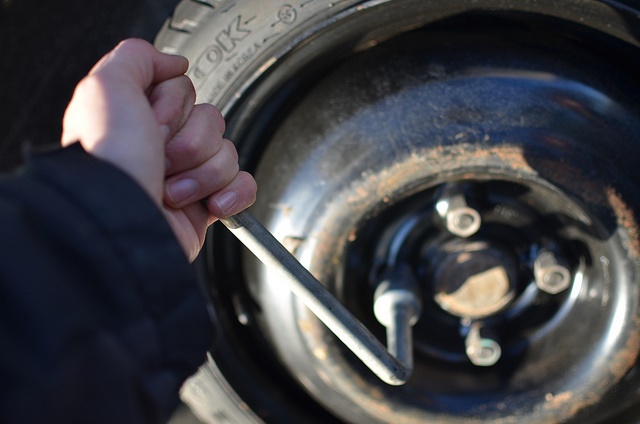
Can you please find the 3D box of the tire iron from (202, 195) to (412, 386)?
[{"bbox_3d":[-0.010,0.121,1.154,0.040,0.039,0.375,-36,83,-15],"label":"tire iron"}]
